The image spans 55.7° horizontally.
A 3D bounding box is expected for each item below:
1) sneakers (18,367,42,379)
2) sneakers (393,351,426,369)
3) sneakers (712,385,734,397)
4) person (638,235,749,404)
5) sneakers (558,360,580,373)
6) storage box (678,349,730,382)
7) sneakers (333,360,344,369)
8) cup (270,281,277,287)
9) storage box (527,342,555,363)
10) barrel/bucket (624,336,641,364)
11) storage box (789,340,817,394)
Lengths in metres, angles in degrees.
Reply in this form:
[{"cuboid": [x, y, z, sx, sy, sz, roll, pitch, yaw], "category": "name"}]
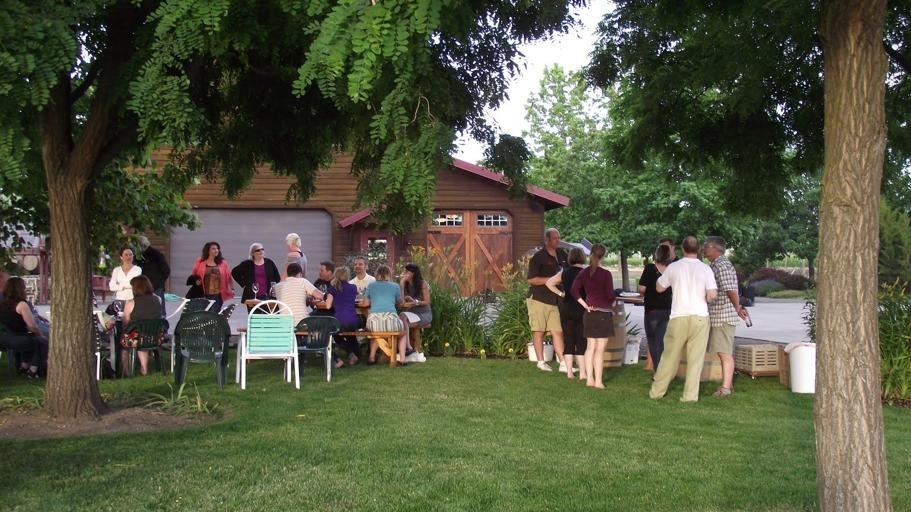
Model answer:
[{"cuboid": [-7.594, 2.081, 15.508, 0.576, 0.186, 0.204, 2, 3, -3], "category": "sneakers"}, {"cuboid": [-0.872, 1.966, 16.578, 0.639, 0.239, 0.208, -4, 0, -5], "category": "sneakers"}, {"cuboid": [4.404, 2.221, 14.166, 0.405, 0.158, 0.146, 2, -6, -33], "category": "sneakers"}, {"cuboid": [3.847, 0.983, 13.904, 1.508, 2.582, 0.738, -6, 11, -27], "category": "person"}, {"cuboid": [2.075, 2.030, 15.851, 0.478, 0.195, 0.159, 0, -1, -45], "category": "sneakers"}, {"cuboid": [4.319, 1.889, 15.096, 0.630, 0.567, 0.597, 2, -5, -17], "category": "storage box"}, {"cuboid": [-2.196, 2.029, 16.197, 0.134, 0.148, 0.358, -3, -1, -10], "category": "sneakers"}, {"cuboid": [-3.589, 0.539, 16.961, 0.096, 0.088, 0.052, -9, -17, 32], "category": "cup"}, {"cuboid": [1.674, 1.894, 17.045, 0.424, 0.238, 0.388, 1, 0, 18], "category": "storage box"}, {"cuboid": [3.399, 1.797, 16.615, 0.240, 0.462, 0.495, 3, 10, 21], "category": "barrel/bucket"}, {"cuboid": [5.707, 1.841, 14.270, 0.403, 0.797, 0.278, 4, 11, 23], "category": "storage box"}]
